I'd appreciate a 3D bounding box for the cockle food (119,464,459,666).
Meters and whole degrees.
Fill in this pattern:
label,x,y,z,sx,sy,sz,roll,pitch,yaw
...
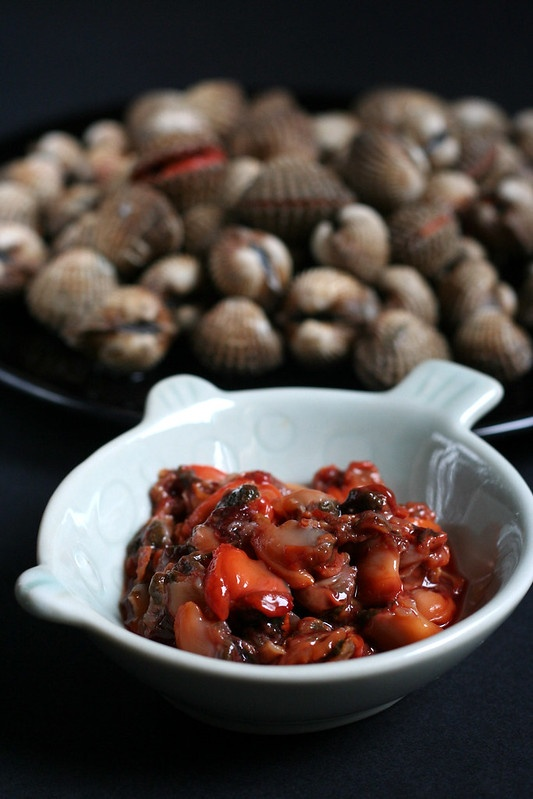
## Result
label,x,y,z,sx,sy,sz,roll,pitch,yaw
cockle food,-0.003,0.074,0.468,0.147,0.056,0.145,5,16,30
